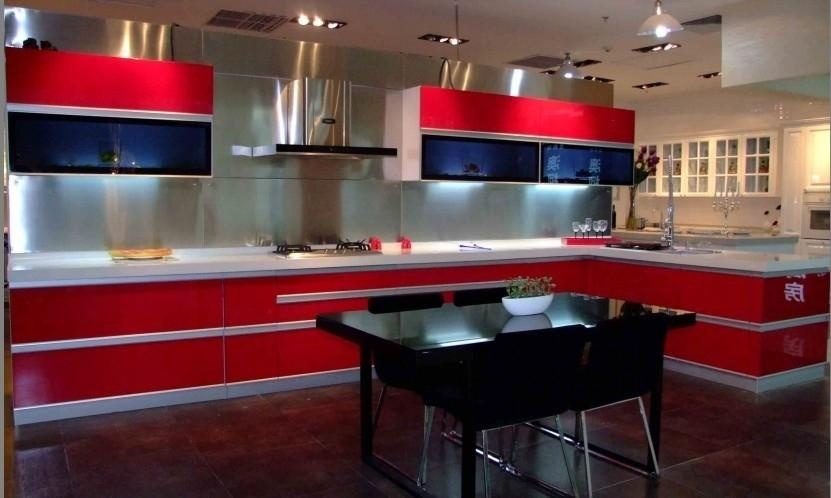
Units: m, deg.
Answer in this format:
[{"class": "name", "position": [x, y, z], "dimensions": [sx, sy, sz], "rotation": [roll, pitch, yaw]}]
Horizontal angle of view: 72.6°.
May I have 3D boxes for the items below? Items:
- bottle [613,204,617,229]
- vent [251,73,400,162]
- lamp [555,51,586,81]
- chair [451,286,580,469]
[{"class": "bottle", "position": [4.102, -0.677, 11.656], "dimensions": [0.101, 0.435, 0.435], "rotation": [5, 15, 19]}, {"class": "vent", "position": [-0.983, -1.488, 6.427], "dimensions": [1.501, 0.786, 1.427], "rotation": [0, 10, -14]}, {"class": "lamp", "position": [2.192, -2.645, 8.121], "dimensions": [0.265, 0.399, 0.997], "rotation": [4, 15, 14]}, {"class": "chair", "position": [0.657, 0.873, 4.256], "dimensions": [1.027, 1.362, 0.919], "rotation": [-2, 5, -24]}]
